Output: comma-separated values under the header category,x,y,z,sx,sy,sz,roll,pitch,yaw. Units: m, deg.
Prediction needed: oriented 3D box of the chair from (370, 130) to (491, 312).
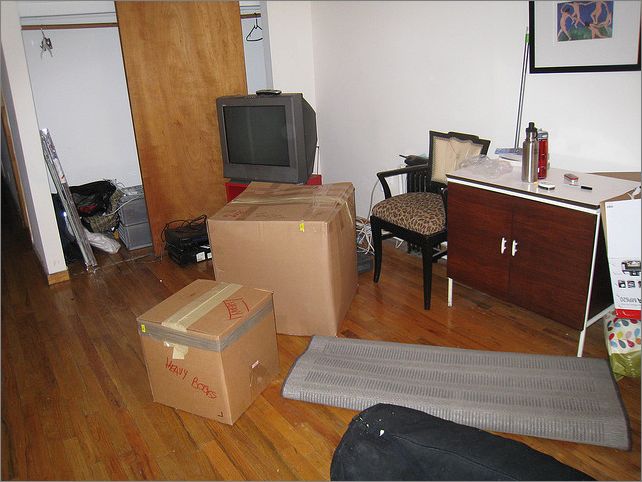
category,x,y,z,sx,sy,sz,roll,pitch,yaw
chair,0.768,-0.184,3.580,0.669,1.122,0.776,17,29,37

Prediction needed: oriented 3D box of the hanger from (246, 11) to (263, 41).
category,x,y,z,sx,sy,sz,roll,pitch,yaw
hanger,-1.003,-3.122,7.115,0.227,0.368,0.504,-5,22,-7

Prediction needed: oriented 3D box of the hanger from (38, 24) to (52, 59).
category,x,y,z,sx,sy,sz,roll,pitch,yaw
hanger,-3.413,-2.449,6.005,0.162,0.320,0.076,-14,25,-27

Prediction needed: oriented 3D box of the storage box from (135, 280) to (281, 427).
category,x,y,z,sx,sy,sz,roll,pitch,yaw
storage box,-0.607,0.505,2.825,0.673,0.688,0.687,11,20,18
